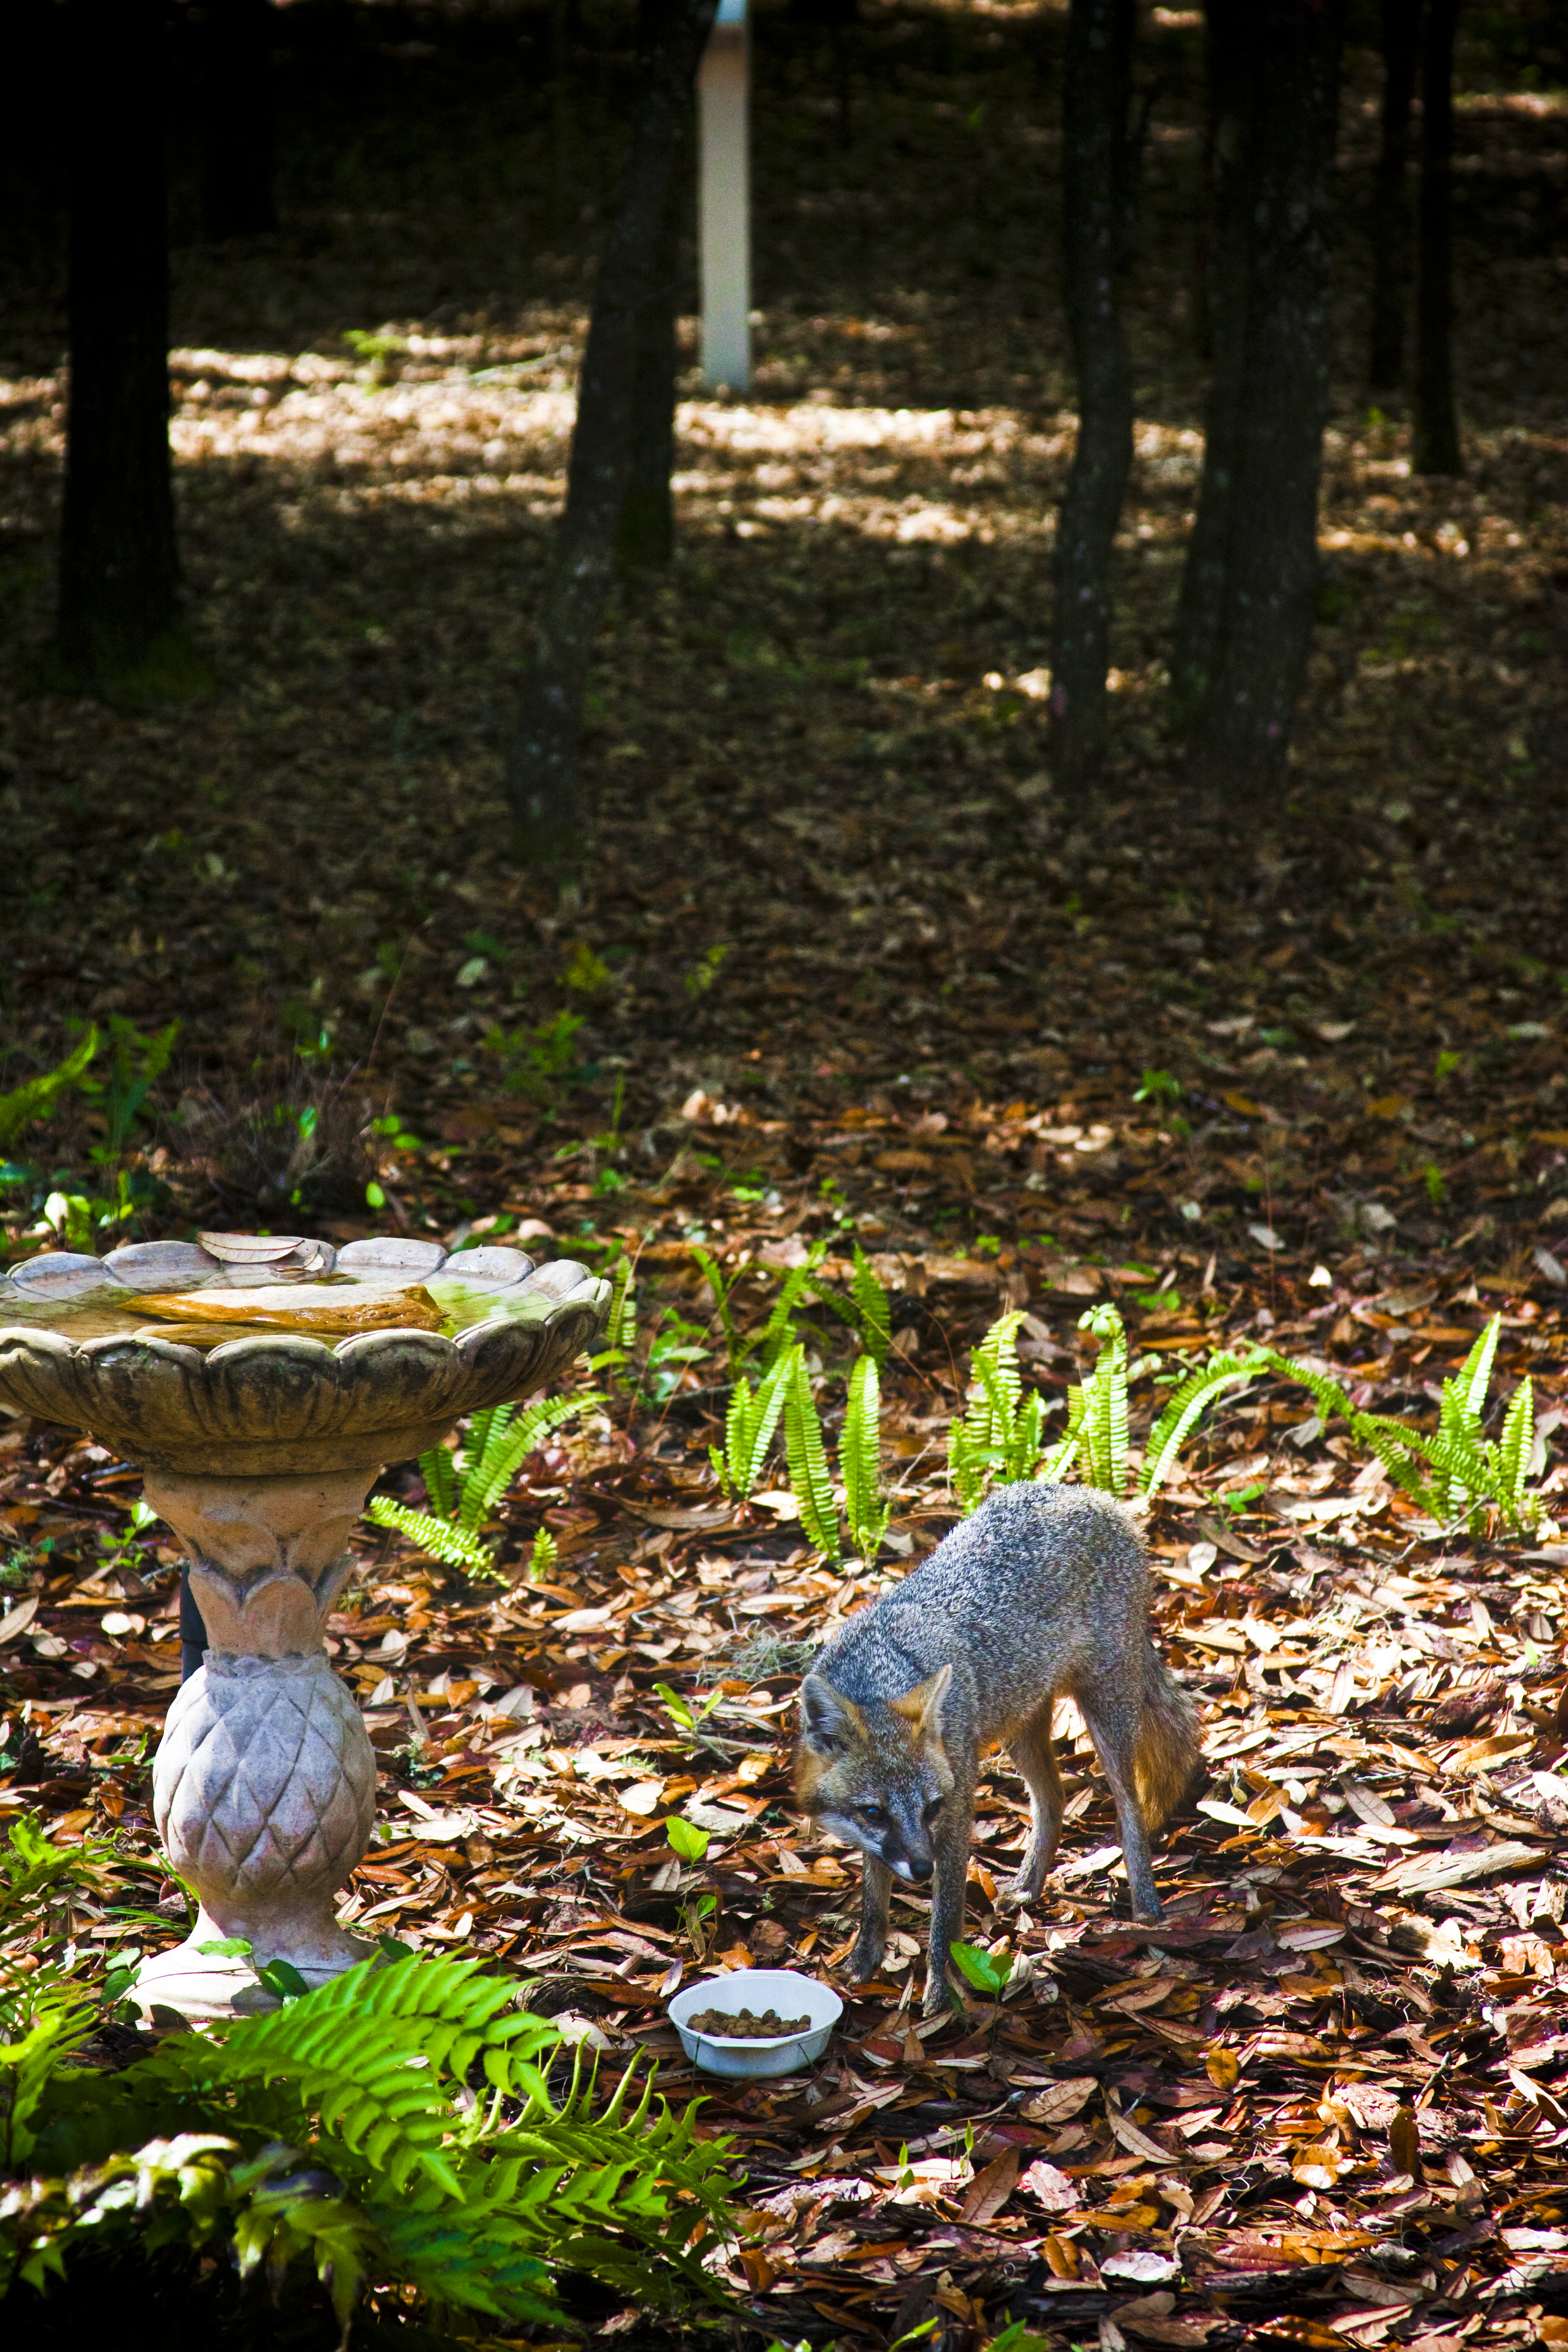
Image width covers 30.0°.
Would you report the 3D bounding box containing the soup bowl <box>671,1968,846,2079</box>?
[{"bbox_3d":[-0.045,1.343,4.678,0.261,0.081,0.228,-8,15,-42],"label":"soup bowl"}]
